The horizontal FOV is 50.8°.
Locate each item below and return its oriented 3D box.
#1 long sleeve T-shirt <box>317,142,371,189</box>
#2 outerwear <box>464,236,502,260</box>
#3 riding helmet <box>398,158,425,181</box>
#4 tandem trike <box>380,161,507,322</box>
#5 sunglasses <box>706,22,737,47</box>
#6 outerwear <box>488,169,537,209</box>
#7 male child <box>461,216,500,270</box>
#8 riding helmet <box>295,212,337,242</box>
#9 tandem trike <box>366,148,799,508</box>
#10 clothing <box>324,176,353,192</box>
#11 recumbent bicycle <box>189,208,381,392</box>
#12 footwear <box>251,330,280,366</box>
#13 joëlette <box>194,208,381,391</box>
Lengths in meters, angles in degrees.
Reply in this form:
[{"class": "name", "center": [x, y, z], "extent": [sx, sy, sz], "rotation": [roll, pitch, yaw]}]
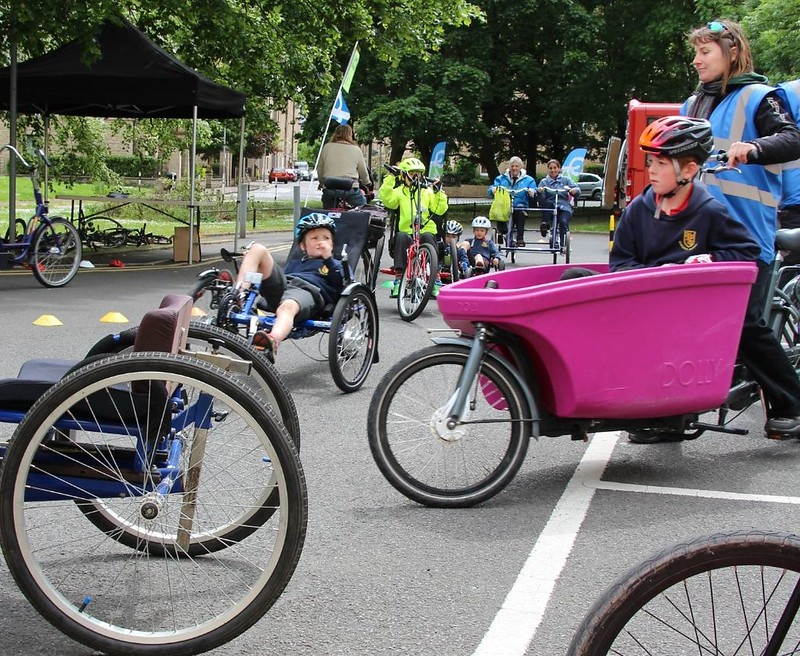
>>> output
[{"class": "long sleeve T-shirt", "center": [-0.803, -2.273, 11.689], "extent": [0.740, 0.569, 0.388], "rotation": [-2, 16, -5]}, {"class": "outerwear", "center": [1.246, -1.170, 12.601], "extent": [0.609, 0.306, 0.382], "rotation": [4, 52, -2]}, {"class": "riding helmet", "center": [0.135, -2.126, 11.317], "extent": [0.297, 0.187, 0.386], "rotation": [-6, 5, -16]}, {"class": "tandem trike", "center": [0.155, -1.241, 10.897], "extent": [1.433, 2.044, 1.440], "rotation": [5, 13, 15]}, {"class": "sunglasses", "center": [1.954, -1.802, 5.168], "extent": [0.126, 0.145, 0.059], "rotation": [6, 27, 19]}, {"class": "outerwear", "center": [2.297, -2.767, 16.973], "extent": [1.256, 0.933, 0.783], "rotation": [0, -3, -1]}, {"class": "male child", "center": [1.112, -1.291, 12.468], "extent": [0.575, 0.637, 0.916], "rotation": [5, 0, 13]}, {"class": "riding helmet", "center": [-0.744, -0.847, 7.104], "extent": [0.260, 0.163, 0.343], "rotation": [-1, 6, -13]}, {"class": "tandem trike", "center": [0.896, 0.240, 4.497], "extent": [2.022, 0.894, 1.144], "rotation": [-1, 2, -13]}, {"class": "clothing", "center": [-0.738, -1.771, 10.334], "extent": [0.359, 0.176, 0.134], "rotation": [3, 18, 18]}, {"class": "recumbent bicycle", "center": [-0.838, -0.279, 6.698], "extent": [1.217, 1.134, 1.686], "rotation": [16, 17, 25]}, {"class": "footwear", "center": [-0.854, 0.113, 5.321], "extent": [0.084, 0.253, 0.107], "rotation": [-13, 33, 21]}, {"class": "joëlette", "center": [-0.876, -0.271, 6.705], "extent": [1.231, 1.206, 1.708], "rotation": [12, 14, 18]}]
